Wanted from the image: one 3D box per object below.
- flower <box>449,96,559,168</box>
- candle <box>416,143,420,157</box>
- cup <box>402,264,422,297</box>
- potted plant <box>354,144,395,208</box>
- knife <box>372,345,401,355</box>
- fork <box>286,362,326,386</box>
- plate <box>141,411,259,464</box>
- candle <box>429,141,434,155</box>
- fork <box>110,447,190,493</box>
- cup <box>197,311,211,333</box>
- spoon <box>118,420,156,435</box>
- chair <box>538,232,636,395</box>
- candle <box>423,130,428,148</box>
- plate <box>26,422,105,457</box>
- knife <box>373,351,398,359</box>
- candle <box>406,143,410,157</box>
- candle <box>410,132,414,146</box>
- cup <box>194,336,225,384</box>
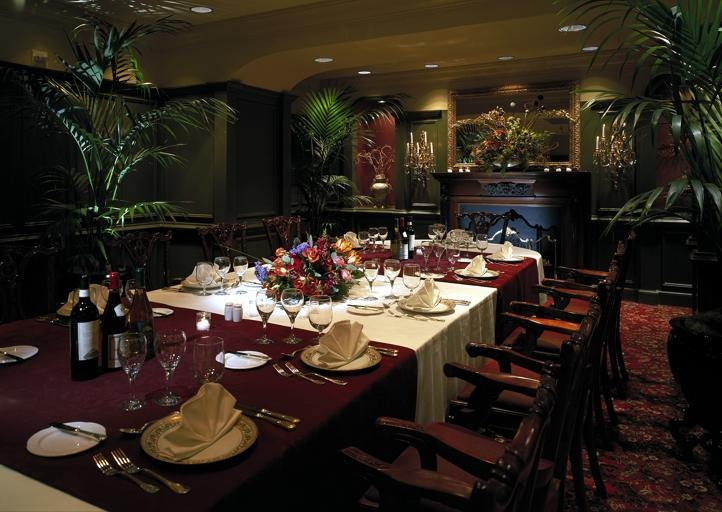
[{"bbox_3d":[1.948,-1.645,6.726,1.015,0.595,1.047,7,10,40],"label":"flower"},{"bbox_3d":[0.844,-1.588,7.393,0.076,0.175,0.024,6,11,37],"label":"candle"},{"bbox_3d":[0.278,0.129,2.804,0.146,0.239,0.139,-1,5,0],"label":"cup"},{"bbox_3d":[0.182,-1.242,7.716,0.603,0.951,0.350,1,9,14],"label":"potted plant"},{"bbox_3d":[0.100,0.380,2.054,0.110,0.012,0.012,5,-23,27],"label":"knife"},{"bbox_3d":[-0.200,0.429,1.832,0.030,0.032,0.231,-8,11,-41],"label":"fork"},{"bbox_3d":[-0.468,0.520,1.448,0.325,0.064,0.191,-1,8,-1],"label":"plate"},{"bbox_3d":[1.032,-1.585,7.354,0.054,0.184,0.027,-2,9,-6],"label":"candle"},{"bbox_3d":[-0.562,0.575,1.348,0.221,0.033,0.031,14,17,18],"label":"fork"},{"bbox_3d":[-0.685,0.284,2.181,0.066,0.075,0.068,3,10,-1],"label":"cup"},{"bbox_3d":[-0.668,0.508,1.500,0.034,0.021,0.130,3,6,16],"label":"spoon"},{"bbox_3d":[1.298,0.376,3.169,0.505,0.823,0.513,18,-3,21],"label":"chair"},{"bbox_3d":[0.940,-1.747,7.361,0.072,0.197,0.049,0,9,7],"label":"candle"},{"bbox_3d":[-0.849,0.527,1.450,0.207,0.043,0.140,1,8,13],"label":"plate"},{"bbox_3d":[0.096,0.384,2.028,0.100,0.026,0.030,6,9,28],"label":"knife"},{"bbox_3d":[0.698,-1.600,7.476,0.070,0.188,0.033,1,9,15],"label":"candle"},{"bbox_3d":[0.754,-1.764,7.456,0.052,0.168,0.042,0,9,5],"label":"candle"},{"bbox_3d":[-0.504,0.334,1.639,0.092,0.152,0.120,-8,11,-41],"label":"cup"}]
